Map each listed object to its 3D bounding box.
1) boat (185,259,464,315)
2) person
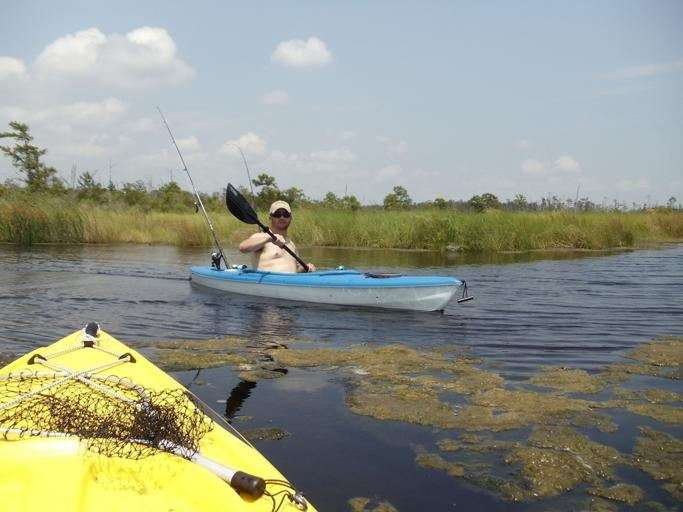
[{"bbox_3d":[-0.552,0.337,8.471,5.830,0.517,1.360,0,18,30],"label":"boat"},{"bbox_3d":[-0.970,-0.109,8.316,1.010,1.562,1.363,-5,-10,36],"label":"person"}]
